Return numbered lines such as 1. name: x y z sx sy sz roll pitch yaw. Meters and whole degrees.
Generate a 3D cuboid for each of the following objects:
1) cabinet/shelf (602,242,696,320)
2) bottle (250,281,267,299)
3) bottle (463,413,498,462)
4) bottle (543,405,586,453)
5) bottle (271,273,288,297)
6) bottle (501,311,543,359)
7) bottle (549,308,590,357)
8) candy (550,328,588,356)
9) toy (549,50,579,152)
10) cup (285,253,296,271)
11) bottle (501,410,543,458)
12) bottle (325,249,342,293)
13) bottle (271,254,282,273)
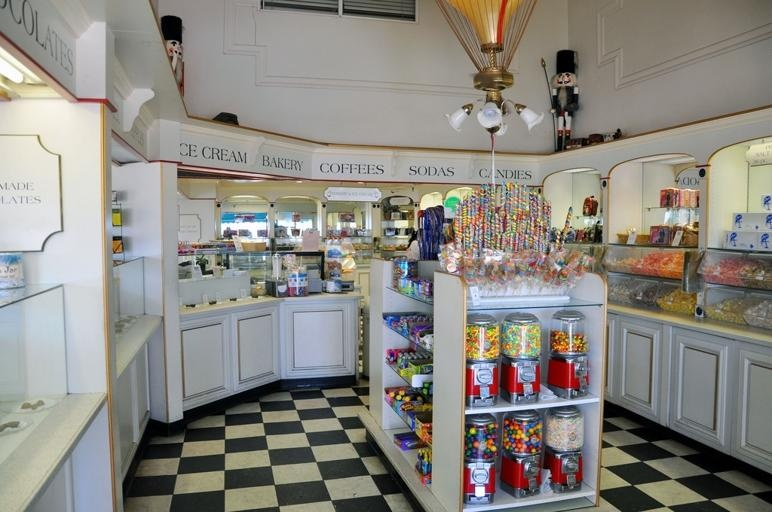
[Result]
1. cabinet/shelf: 3.015 0.231 6.093 0.480 0.694 1.158 -9 8 -24
2. bottle: -1.559 0.433 6.730 0.180 0.174 0.170 0 3 -41
3. bottle: 0.679 1.350 4.058 0.358 0.294 0.354 -1 -8 -1
4. bottle: 1.330 1.316 4.255 0.313 0.334 0.311 0 1 -3
5. bottle: -1.296 0.362 6.790 0.174 0.228 0.309 -2 12 -10
6. bottle: 1.025 0.612 4.145 0.354 0.333 0.348 0 -2 -15
7. bottle: 1.418 0.588 4.212 0.300 0.330 0.304 -2 4 25
8. candy: 1.391 0.645 4.120 0.201 0.136 0.198 0 2 -15
9. toy: 2.577 -2.228 7.886 0.319 1.396 0.569 0 11 -1
10. cup: -1.197 0.090 6.918 0.124 0.188 0.219 -2 12 -10
11. bottle: 1.047 1.347 4.149 0.299 0.283 0.304 -1 -10 2
12. bottle: -0.718 0.177 7.326 0.246 0.630 0.205 0 -2 -29
13. bottle: -1.363 0.106 6.883 0.126 0.241 0.166 -2 12 -11
